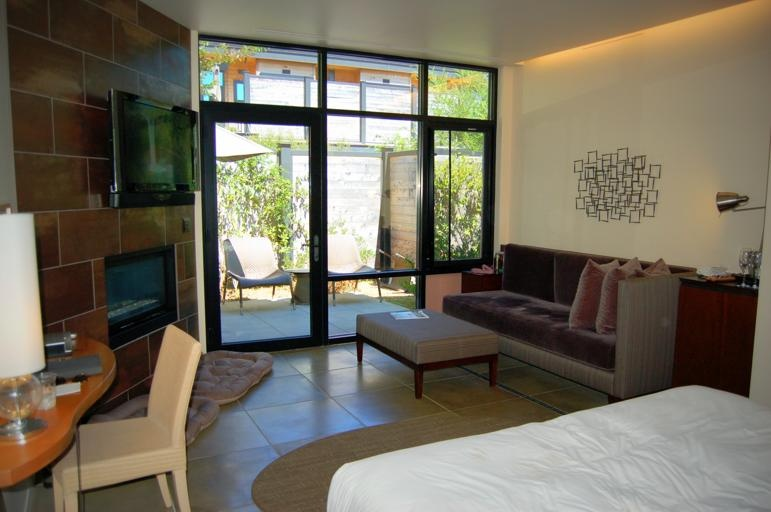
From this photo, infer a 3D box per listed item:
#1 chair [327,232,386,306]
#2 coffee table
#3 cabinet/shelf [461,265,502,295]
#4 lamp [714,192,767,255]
[{"bbox_3d":[-0.319,0.106,6.171,0.634,0.915,0.661,-3,3,-26],"label":"chair"},{"bbox_3d":[0.467,1.046,5.082,0.738,0.404,1.101,0,3,-26],"label":"coffee table"},{"bbox_3d":[1.163,0.205,6.636,0.432,0.437,0.323,0,7,6],"label":"cabinet/shelf"},{"bbox_3d":[3.029,-0.321,4.714,0.371,0.460,0.367,7,15,28],"label":"lamp"}]
